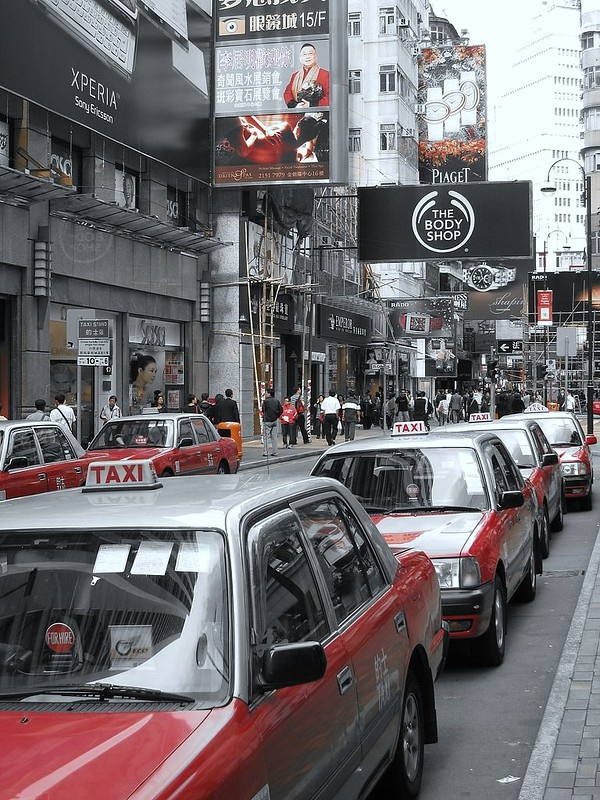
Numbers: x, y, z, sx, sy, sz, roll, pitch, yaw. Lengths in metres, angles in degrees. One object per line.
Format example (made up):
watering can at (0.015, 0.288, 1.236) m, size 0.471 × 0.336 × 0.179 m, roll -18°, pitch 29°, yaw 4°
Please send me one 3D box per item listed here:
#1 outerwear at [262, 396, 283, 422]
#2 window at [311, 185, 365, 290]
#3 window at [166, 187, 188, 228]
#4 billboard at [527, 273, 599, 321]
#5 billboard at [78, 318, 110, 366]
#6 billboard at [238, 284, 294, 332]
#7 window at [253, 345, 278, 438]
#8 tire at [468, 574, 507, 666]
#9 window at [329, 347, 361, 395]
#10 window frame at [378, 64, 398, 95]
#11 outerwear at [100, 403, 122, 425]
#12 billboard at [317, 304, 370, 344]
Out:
outerwear at (-1.049, 0.384, 27.047) m, size 0.821 × 1.356 × 0.677 m, roll 1°, pitch 9°, yaw -1°
window at (2.287, -10.055, 47.449) m, size 2.144 × 6.590 × 10.858 m, roll 0°, pitch 3°, yaw 16°
window at (-4.973, -7.858, 30.346) m, size 0.522 × 1.020 × 2.020 m, roll 10°, pitch 5°, yaw 7°
billboard at (21.217, -8.533, 60.534) m, size 5.318 × 4.704 × 3.349 m, roll -1°, pitch 7°, yaw 0°
billboard at (-5.000, -1.384, 18.090) m, size 0.821 × 1.186 × 0.574 m, roll 9°, pitch 4°, yaw -10°
billboard at (-1.504, -4.294, 35.422) m, size 0.530 × 1.691 × 6.411 m, roll 10°, pitch 5°, yaw 17°
window at (-1.563, -0.534, 35.237) m, size 0.649 × 4.109 × 0.810 m, roll 2°, pitch 6°, yaw -7°
tire at (1.417, 1.690, 5.699) m, size 0.185 × 0.747 × 0.652 m, roll 2°, pitch 10°, yaw 18°
window at (3.670, -1.803, 53.024) m, size 1.703 × 3.542 × 2.523 m, roll 1°, pitch 2°, yaw -5°
window frame at (8.317, -30.469, 71.250) m, size 2.262 × 4.384 × 0.434 m, roll 0°, pitch -1°, yaw -3°
outerwear at (-5.263, 0.421, 20.709) m, size 0.503 × 0.700 × 0.333 m, roll 1°, pitch -6°, yaw -4°
billboard at (2.720, -4.547, 46.478) m, size 0.489 × 1.849 × 9.550 m, roll 10°, pitch 4°, yaw 20°
